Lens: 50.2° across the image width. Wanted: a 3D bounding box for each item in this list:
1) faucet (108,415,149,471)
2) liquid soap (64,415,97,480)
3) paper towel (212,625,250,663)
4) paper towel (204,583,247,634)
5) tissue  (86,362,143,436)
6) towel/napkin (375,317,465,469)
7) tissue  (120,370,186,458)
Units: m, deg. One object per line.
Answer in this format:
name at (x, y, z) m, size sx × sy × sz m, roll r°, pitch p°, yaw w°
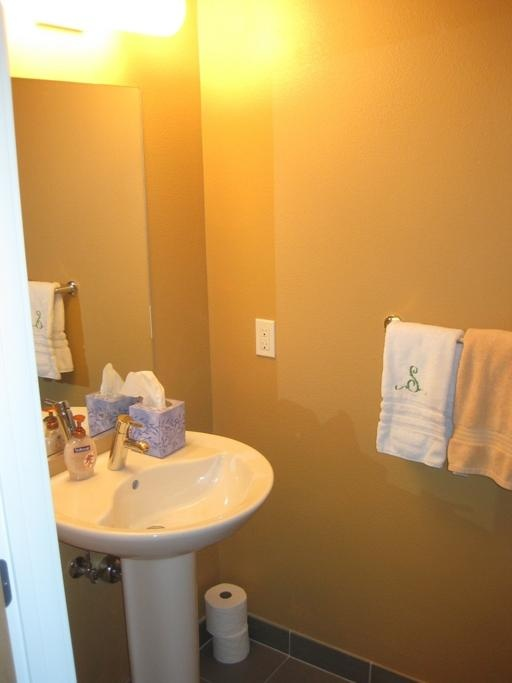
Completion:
faucet at (-0.288, 0.244, 1.293) m, size 0.081 × 0.165 × 0.090 m, roll 18°, pitch 27°, yaw 32°
liquid soap at (-0.399, 0.239, 1.281) m, size 0.065 × 0.141 × 0.077 m, roll 6°, pitch 11°, yaw 32°
paper towel at (-0.086, 1.023, 1.884) m, size 0.105 × 0.121 × 0.115 m, roll -1°, pitch 13°, yaw 6°
paper towel at (-0.100, 0.929, 1.872) m, size 0.143 × 0.176 × 0.156 m, roll -3°, pitch 18°, yaw -3°
tissue  at (-0.374, 0.151, 1.406) m, size 0.114 × 0.275 × 0.134 m, roll 12°, pitch 17°, yaw 26°
towel/napkin at (0.418, 0.117, 1.373) m, size 0.084 × 0.346 × 0.219 m, roll -5°, pitch 15°, yaw -43°
tissue  at (-0.270, 0.183, 1.420) m, size 0.111 × 0.228 × 0.133 m, roll 18°, pitch 26°, yaw 32°
